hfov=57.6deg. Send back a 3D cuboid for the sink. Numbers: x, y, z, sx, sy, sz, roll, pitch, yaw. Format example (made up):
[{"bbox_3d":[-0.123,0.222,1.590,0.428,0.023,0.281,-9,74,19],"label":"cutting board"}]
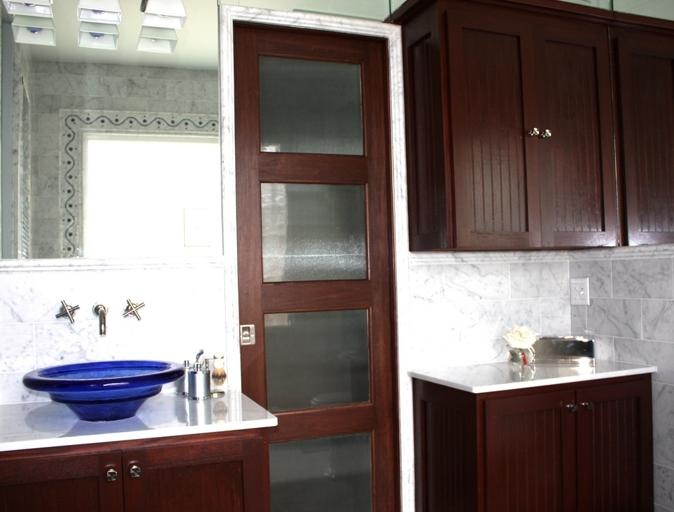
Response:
[{"bbox_3d":[-0.953,0.554,2.500,0.588,0.197,0.458,0,-2,-27],"label":"sink"}]

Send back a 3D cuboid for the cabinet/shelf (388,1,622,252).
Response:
[{"bbox_3d":[0.854,-0.633,3.060,1.192,1.215,0.463,2,-2,-24],"label":"cabinet/shelf"}]

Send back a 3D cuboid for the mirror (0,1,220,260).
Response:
[{"bbox_3d":[-1.098,-0.559,2.832,1.147,1.140,0.386,-1,1,-16],"label":"mirror"}]
